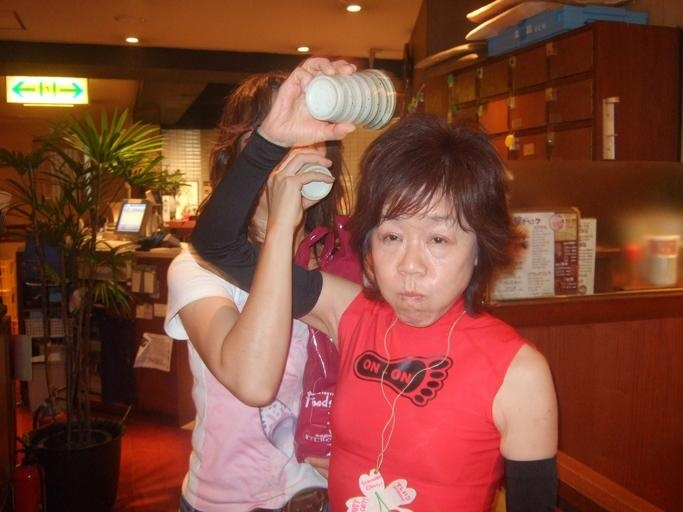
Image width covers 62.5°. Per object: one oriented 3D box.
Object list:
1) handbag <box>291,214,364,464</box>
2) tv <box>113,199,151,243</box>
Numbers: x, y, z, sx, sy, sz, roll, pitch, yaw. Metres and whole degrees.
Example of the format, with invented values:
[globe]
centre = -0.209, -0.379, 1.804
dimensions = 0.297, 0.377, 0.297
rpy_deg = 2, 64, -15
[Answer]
[handbag]
centre = -0.046, 0.236, 1.582
dimensions = 0.165, 0.570, 0.314
rpy_deg = 6, -4, -27
[tv]
centre = -1.708, -0.289, 4.676
dimensions = 0.235, 0.350, 0.188
rpy_deg = 4, -11, 0
